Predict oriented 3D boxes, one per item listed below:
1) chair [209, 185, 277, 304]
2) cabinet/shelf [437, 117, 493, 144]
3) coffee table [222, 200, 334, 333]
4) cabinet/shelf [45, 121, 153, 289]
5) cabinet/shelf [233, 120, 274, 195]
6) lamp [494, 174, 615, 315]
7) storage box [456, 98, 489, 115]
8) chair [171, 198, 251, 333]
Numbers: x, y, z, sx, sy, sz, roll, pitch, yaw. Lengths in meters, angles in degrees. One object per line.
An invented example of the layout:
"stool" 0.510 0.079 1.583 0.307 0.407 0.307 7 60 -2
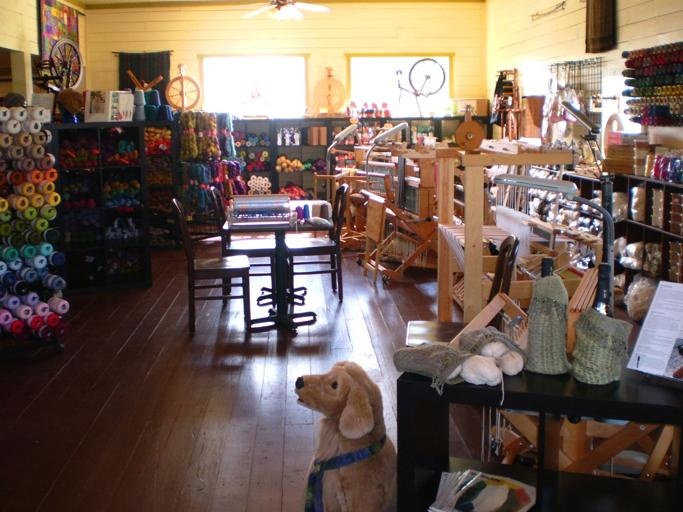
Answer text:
"chair" -0.996 -0.156 5.331 0.672 1.118 0.605 -2 -3 -3
"cabinet/shelf" 2.565 -2.674 10.418 1.282 0.482 0.478 -8 14 -21
"coffee table" -0.670 -0.071 5.118 0.846 1.114 0.680 1 21 15
"cabinet/shelf" -2.728 -0.574 5.770 1.011 1.864 0.451 -9 13 -26
"cabinet/shelf" -1.727 -2.078 10.252 0.859 1.455 0.547 -5 12 -10
"lamp" 0.883 -0.094 1.965 0.303 0.443 0.567 -7 13 -18
"storage box" 2.763 -3.106 10.447 0.874 0.350 0.344 -11 15 -29
"chair" -1.220 0.024 4.824 0.725 1.240 0.728 -1 7 -1
